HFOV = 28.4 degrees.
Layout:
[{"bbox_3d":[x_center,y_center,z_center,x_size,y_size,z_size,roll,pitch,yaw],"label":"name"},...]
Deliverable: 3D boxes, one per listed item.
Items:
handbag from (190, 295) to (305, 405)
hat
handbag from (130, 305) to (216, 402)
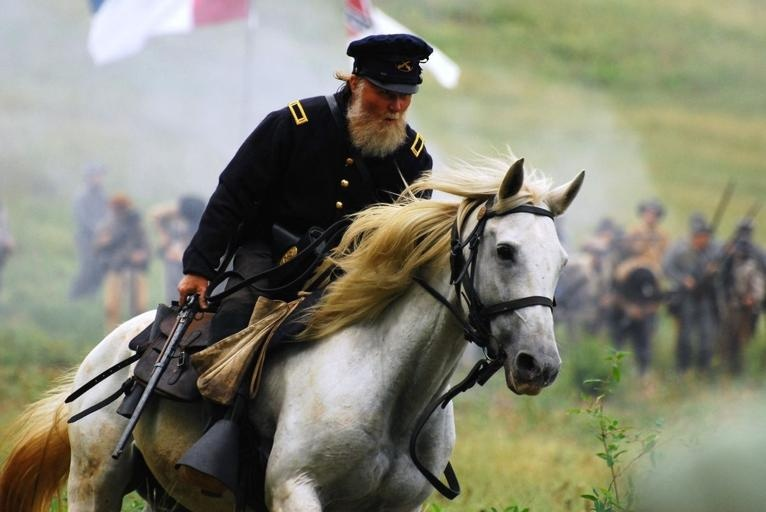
[{"bbox_3d":[-1.623,1.071,17.276,0.793,1.515,0.812,41,-3,1],"label":"handbag"},{"bbox_3d":[0.101,-2.228,17.343,0.710,0.455,0.807,1,4,-22],"label":"hat"},{"bbox_3d":[-2.436,1.111,17.366,1.022,1.034,0.402,9,-8,32],"label":"handbag"}]
